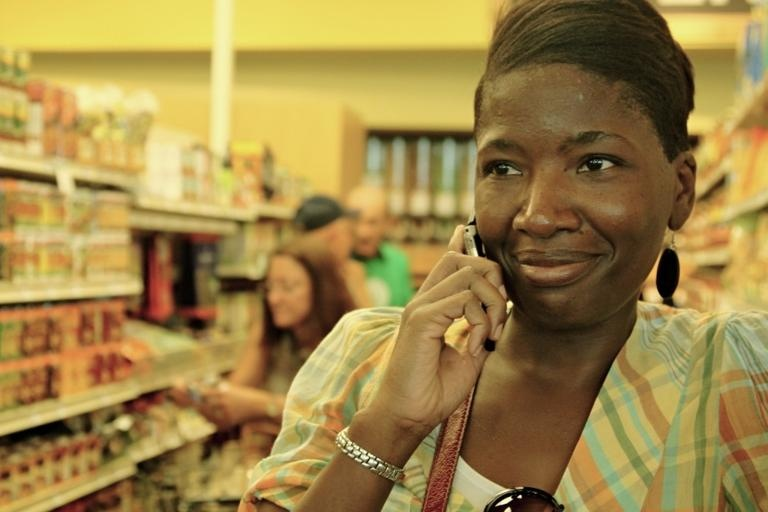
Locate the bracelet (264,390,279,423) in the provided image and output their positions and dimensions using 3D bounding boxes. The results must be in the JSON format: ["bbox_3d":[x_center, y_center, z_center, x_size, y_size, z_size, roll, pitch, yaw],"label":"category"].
[{"bbox_3d":[-0.633,0.870,3.994,0.096,0.123,0.118,2,14,6],"label":"bracelet"}]
